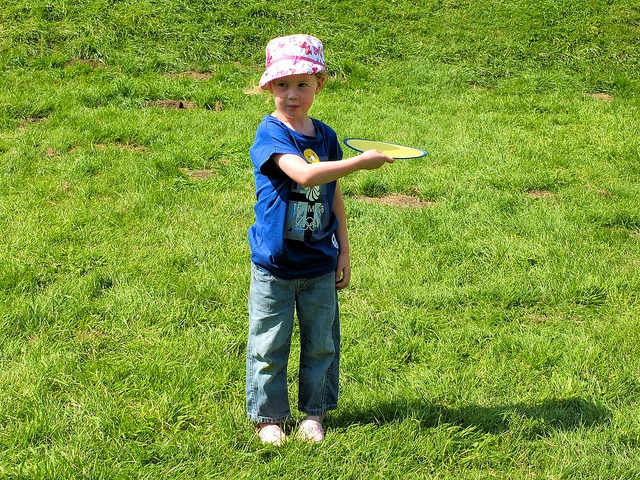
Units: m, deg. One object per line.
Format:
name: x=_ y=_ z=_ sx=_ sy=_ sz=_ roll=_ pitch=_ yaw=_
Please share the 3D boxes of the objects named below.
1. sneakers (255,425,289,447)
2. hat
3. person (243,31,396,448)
sneakers: x=-0.428 y=1.742 z=8.069 sx=0.249 sy=0.148 sz=0.106 roll=11 pitch=-18 yaw=-1
hat: x=-0.241 y=-1.579 z=7.834 sx=0.407 sy=0.286 sz=0.529 roll=-5 pitch=-8 yaw=29
person: x=-0.141 y=0.003 z=7.990 sx=1.029 sy=3.477 sz=0.830 roll=0 pitch=16 yaw=2
